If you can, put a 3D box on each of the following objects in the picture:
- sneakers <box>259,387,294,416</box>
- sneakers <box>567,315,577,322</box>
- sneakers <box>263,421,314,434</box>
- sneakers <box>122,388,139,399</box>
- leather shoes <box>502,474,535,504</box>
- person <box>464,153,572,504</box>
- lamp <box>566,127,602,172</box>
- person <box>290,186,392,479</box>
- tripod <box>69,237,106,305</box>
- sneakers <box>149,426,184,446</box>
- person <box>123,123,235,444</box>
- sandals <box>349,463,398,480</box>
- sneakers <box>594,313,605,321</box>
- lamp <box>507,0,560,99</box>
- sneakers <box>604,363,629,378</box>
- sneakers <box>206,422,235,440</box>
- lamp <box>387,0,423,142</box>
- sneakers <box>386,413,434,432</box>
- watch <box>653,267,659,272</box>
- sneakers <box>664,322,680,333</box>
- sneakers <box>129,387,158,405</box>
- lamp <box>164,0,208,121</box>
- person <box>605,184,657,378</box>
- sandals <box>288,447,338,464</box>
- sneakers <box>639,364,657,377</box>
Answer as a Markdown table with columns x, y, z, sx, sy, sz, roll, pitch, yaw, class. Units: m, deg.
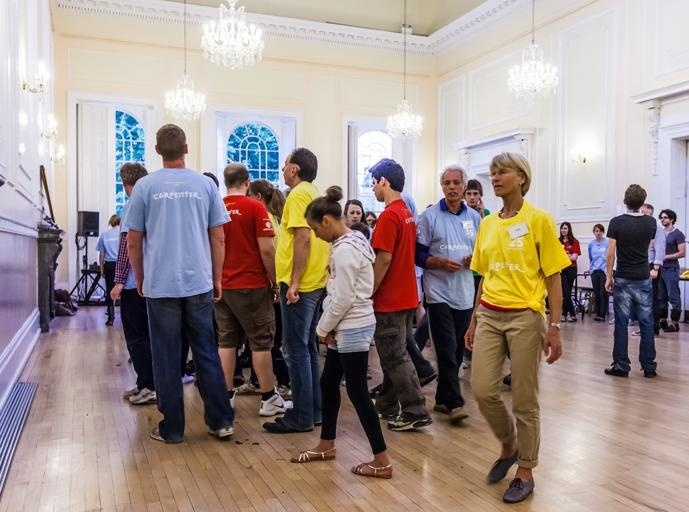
| x | y | z | sx | sy | sz | roll | pitch | yaw | class |
| --- | --- | --- | --- | --- | --- | --- | --- | --- | --- |
| -0.494 | 1.100 | 4.021 | 0.129 | 0.231 | 0.332 | -1 | 2 | 41 | sneakers |
| 3.672 | 1.017 | 8.605 | 0.065 | 0.095 | 0.222 | 0 | 6 | -5 | sneakers |
| -0.361 | 1.131 | 3.543 | 0.299 | 0.136 | 0.114 | 4 | -6 | -5 | sneakers |
| -1.685 | 1.132 | 4.292 | 0.147 | 0.064 | 0.074 | 5 | -2 | -39 | sneakers |
| 0.895 | 1.221 | 2.726 | 0.072 | 0.081 | 0.206 | -8 | -12 | 30 | leather shoes |
| 0.915 | 0.348 | 2.821 | 0.510 | 1.824 | 0.402 | 1 | 3 | 13 | person |
| 4.436 | -2.030 | 9.650 | 0.738 | 0.817 | 0.257 | -1 | 2 | -4 | lamp |
| 0.022 | 0.412 | 2.998 | 0.554 | 1.642 | 0.334 | 2 | 4 | 33 | person |
| -5.228 | 0.213 | 11.210 | 0.805 | 1.462 | 0.814 | -4 | 10 | -41 | tripod |
| -1.123 | 1.188 | 3.457 | 0.216 | 0.102 | 0.095 | -5 | -4 | 38 | sneakers |
| -1.025 | 0.166 | 3.444 | 0.645 | 2.084 | 0.280 | 0 | 3 | -14 | person |
| 0.160 | 1.186 | 2.931 | 0.179 | 0.068 | 0.090 | 4 | -7 | 14 | sandals |
| 4.123 | 1.006 | 8.591 | 0.101 | 0.126 | 0.294 | 3 | 3 | 11 | sneakers |
| 3.624 | -4.189 | 10.126 | 0.878 | 2.137 | 1.508 | 1 | 3 | 18 | lamp |
| 2.596 | 1.118 | 5.103 | 0.092 | 0.103 | 0.225 | -2 | 6 | -26 | sneakers |
| -0.791 | 1.155 | 3.505 | 0.071 | 0.091 | 0.180 | 0 | 4 | -36 | sneakers |
| 1.492 | -4.338 | 12.649 | 0.744 | 3.008 | 1.578 | 1 | 3 | 7 | lamp |
| 0.470 | 1.141 | 3.656 | 0.303 | 0.159 | 0.123 | 0 | -3 | 6 | sneakers |
| 4.506 | 0.188 | 7.717 | 0.052 | 0.038 | 0.051 | -5 | 13 | -20 | watch |
| 4.699 | 1.034 | 7.615 | 0.315 | 0.136 | 0.115 | 9 | -10 | -36 | sneakers |
| -1.534 | 1.115 | 4.253 | 0.296 | 0.152 | 0.131 | 1 | 1 | -11 | sneakers |
| -3.240 | -4.328 | 11.128 | 0.845 | 2.796 | 1.391 | -1 | 3 | -18 | lamp |
| 2.801 | 0.211 | 5.185 | 0.467 | 1.892 | 0.602 | 2 | 3 | 31 | person |
| -0.144 | 1.190 | 3.103 | 0.228 | 0.093 | 0.097 | 3 | -6 | -6 | sandals |
| 2.899 | 1.109 | 5.086 | 0.074 | 0.094 | 0.203 | -1 | 3 | 12 | sneakers |
